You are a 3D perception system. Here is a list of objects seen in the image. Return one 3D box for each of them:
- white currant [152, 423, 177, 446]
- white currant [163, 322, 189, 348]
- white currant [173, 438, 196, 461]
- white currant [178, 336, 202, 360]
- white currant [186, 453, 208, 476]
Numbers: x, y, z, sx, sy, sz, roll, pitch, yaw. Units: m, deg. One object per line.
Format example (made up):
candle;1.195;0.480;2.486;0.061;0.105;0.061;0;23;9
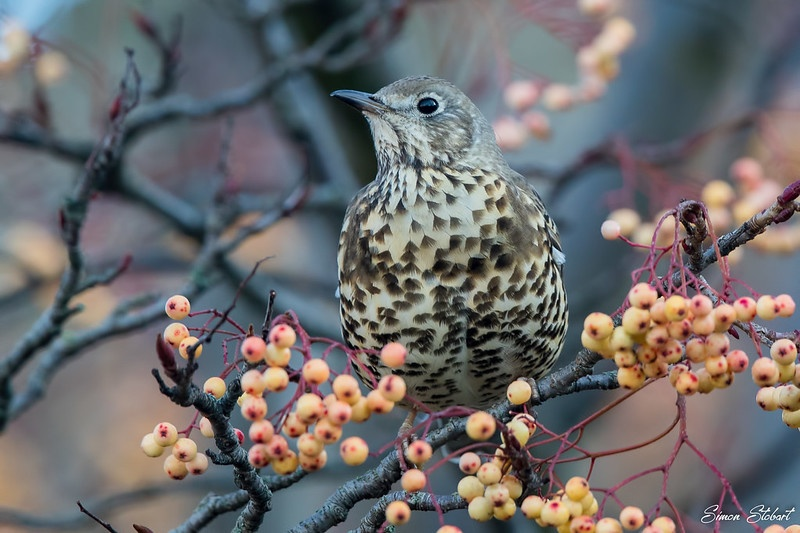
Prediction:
white currant;-0.800;0.571;4.517;0.069;0.091;0.074;-2;-1;10
white currant;-0.767;0.240;4.583;0.080;0.069;0.064;-6;21;-21
white currant;-0.717;0.615;4.466;0.069;0.089;0.074;-7;-16;6
white currant;-0.707;0.278;4.465;0.073;0.080;0.075;-5;-4;11
white currant;-0.689;0.677;4.540;0.065;0.074;0.069;-2;-6;5
